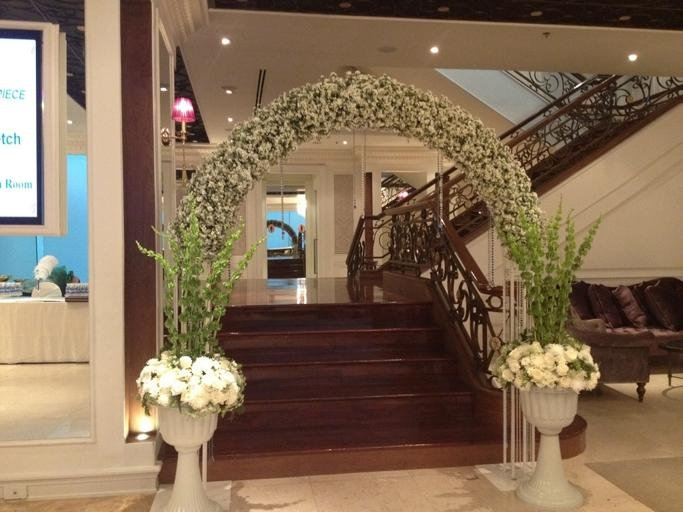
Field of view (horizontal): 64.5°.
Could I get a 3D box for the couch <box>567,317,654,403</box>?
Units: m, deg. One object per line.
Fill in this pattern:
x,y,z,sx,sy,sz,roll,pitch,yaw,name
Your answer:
2.997,1.140,6.288,0.962,1.079,0.859,-2,2,-2,couch

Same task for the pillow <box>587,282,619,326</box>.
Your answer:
3.366,0.646,6.959,0.479,0.474,0.139,-1,-23,-46,pillow

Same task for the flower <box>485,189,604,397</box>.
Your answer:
1.881,0.376,4.866,0.758,1.493,2.440,-1,-2,25,flower

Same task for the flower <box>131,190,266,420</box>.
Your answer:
-1.047,0.447,3.901,0.795,1.654,1.109,0,-2,-19,flower
